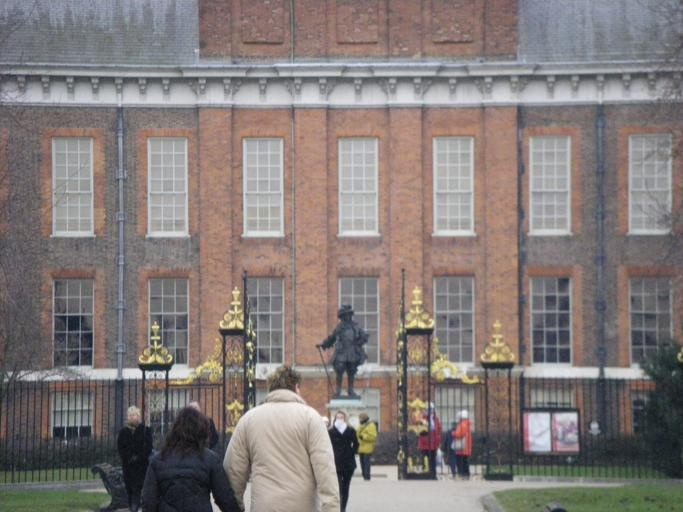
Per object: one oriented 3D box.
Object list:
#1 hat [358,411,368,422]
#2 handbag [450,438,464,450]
[{"bbox_3d":[0.671,4.721,57.539,0.257,0.284,0.205,15,5,21],"label":"hat"},{"bbox_3d":[3.455,5.584,58.192,0.299,0.348,0.329,-1,4,-16],"label":"handbag"}]
